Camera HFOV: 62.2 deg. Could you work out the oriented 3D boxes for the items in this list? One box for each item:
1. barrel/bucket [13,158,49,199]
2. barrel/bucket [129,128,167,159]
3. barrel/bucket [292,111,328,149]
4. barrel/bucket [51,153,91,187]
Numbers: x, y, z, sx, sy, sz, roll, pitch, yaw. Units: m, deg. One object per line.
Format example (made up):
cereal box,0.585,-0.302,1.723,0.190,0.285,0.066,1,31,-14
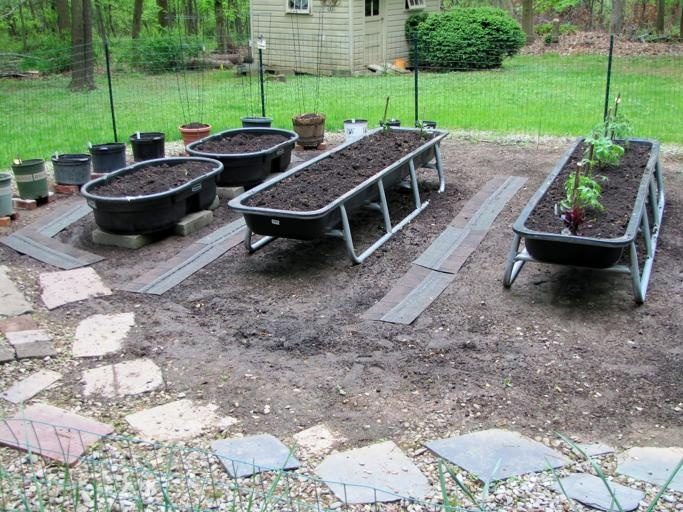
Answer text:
barrel/bucket,-3.907,-1.009,7.324,0.671,0.475,0.531,-6,22,-21
barrel/bucket,-2.842,-1.636,8.233,0.567,0.312,0.512,-9,22,-15
barrel/bucket,-0.537,-2.082,9.494,0.645,0.415,0.587,-1,13,0
barrel/bucket,-3.677,-1.164,7.720,0.587,0.287,0.446,7,15,5
